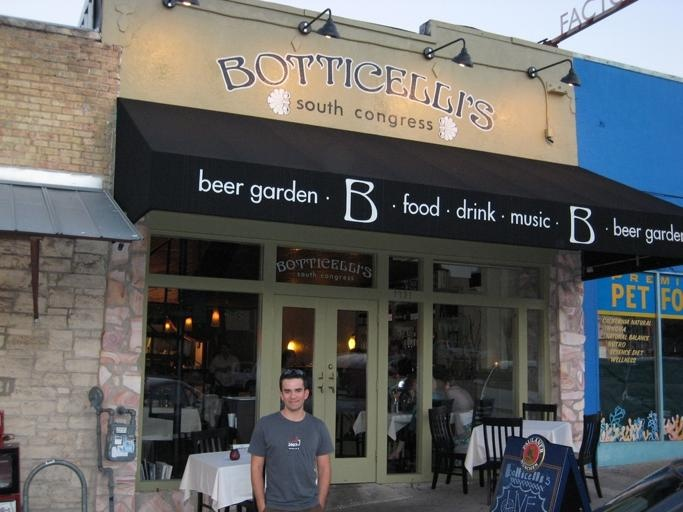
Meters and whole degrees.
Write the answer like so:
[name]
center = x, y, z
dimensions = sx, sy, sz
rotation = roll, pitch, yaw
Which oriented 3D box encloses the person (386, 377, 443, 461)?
[person]
center = 1.233, 2.592, 11.226
dimensions = 0.942, 1.474, 0.968
rotation = 9, -15, -22
